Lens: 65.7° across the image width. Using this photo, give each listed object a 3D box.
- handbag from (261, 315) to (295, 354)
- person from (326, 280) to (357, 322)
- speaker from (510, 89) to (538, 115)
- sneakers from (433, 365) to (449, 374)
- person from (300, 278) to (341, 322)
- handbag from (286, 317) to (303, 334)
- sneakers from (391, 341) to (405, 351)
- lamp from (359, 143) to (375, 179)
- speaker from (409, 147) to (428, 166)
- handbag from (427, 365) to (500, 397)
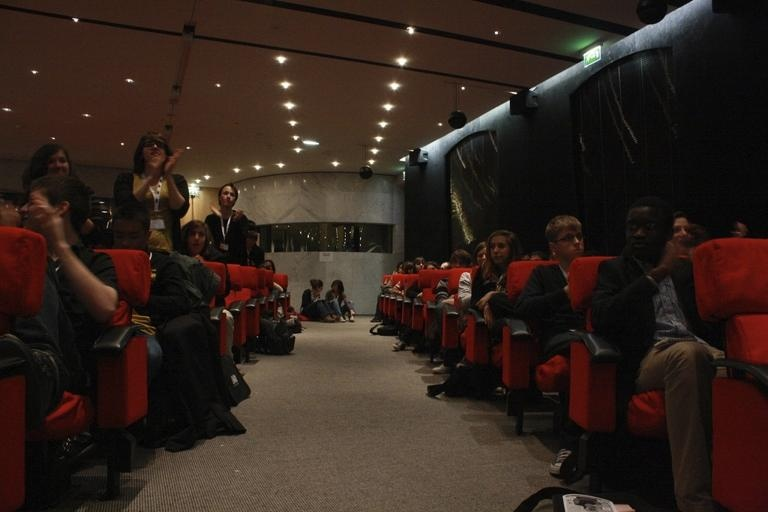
[{"bbox_3d":[-1.369,1.056,7.883,0.452,0.485,0.349,0,-1,9],"label":"handbag"},{"bbox_3d":[-1.056,1.040,14.422,0.854,0.923,0.526,0,-1,42],"label":"person"},{"bbox_3d":[2.370,-2.465,10.079,0.302,0.394,0.588,-1,4,-11],"label":"speaker"},{"bbox_3d":[0.590,1.222,6.419,0.196,0.092,0.069,4,-9,-10],"label":"sneakers"},{"bbox_3d":[-1.573,1.032,14.082,0.618,0.946,1.090,0,1,-44],"label":"person"},{"bbox_3d":[-1.483,1.142,9.889,0.167,0.238,0.532,1,2,-1],"label":"handbag"},{"bbox_3d":[0.211,1.266,8.355,0.095,0.114,0.164,-9,-25,32],"label":"sneakers"},{"bbox_3d":[-0.445,-2.384,14.728,0.241,0.799,0.321,5,-28,3],"label":"lamp"},{"bbox_3d":[0.831,-2.282,14.345,0.301,0.432,0.568,-1,4,-17],"label":"speaker"},{"bbox_3d":[0.778,1.140,5.388,0.434,0.206,0.355,1,-4,-6],"label":"handbag"}]
